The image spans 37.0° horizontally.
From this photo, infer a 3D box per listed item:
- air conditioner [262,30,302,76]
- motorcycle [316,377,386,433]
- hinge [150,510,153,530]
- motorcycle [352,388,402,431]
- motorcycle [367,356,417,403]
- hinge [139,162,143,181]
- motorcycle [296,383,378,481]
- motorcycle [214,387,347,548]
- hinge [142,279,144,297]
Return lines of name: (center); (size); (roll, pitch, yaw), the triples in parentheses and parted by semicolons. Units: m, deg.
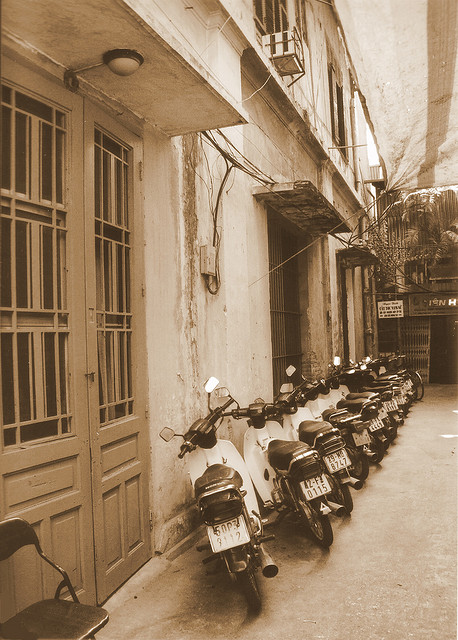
air conditioner: (0.663, -3.281, 8.475); (0.487, 0.385, 0.551); (-1, -3, 21)
motorcycle: (1.333, 0.953, 7.497); (0.374, 0.624, 0.837); (-11, 15, -20)
hinge: (-0.568, 1.465, 4.963); (0.011, 0.136, 0.036); (-2, 1, 29)
motorcycle: (1.985, 1.163, 8.994); (0.381, 0.617, 0.800); (-4, 1, 11)
motorcycle: (2.799, 0.986, 11.735); (0.629, 1.010, 1.274); (-6, 5, 3)
hinge: (-0.654, -1.104, 5.095); (0.004, 0.135, 0.037); (-2, 1, 24)
motorcycle: (1.053, 1.162, 6.914); (0.869, 1.117, 0.737); (3, 6, 18)
motorcycle: (0.621, 1.366, 5.461); (0.798, 1.443, 1.651); (2, 4, 2)
hinge: (-0.633, -0.230, 5.037); (0.002, 0.126, 0.030); (-2, 1, 24)
